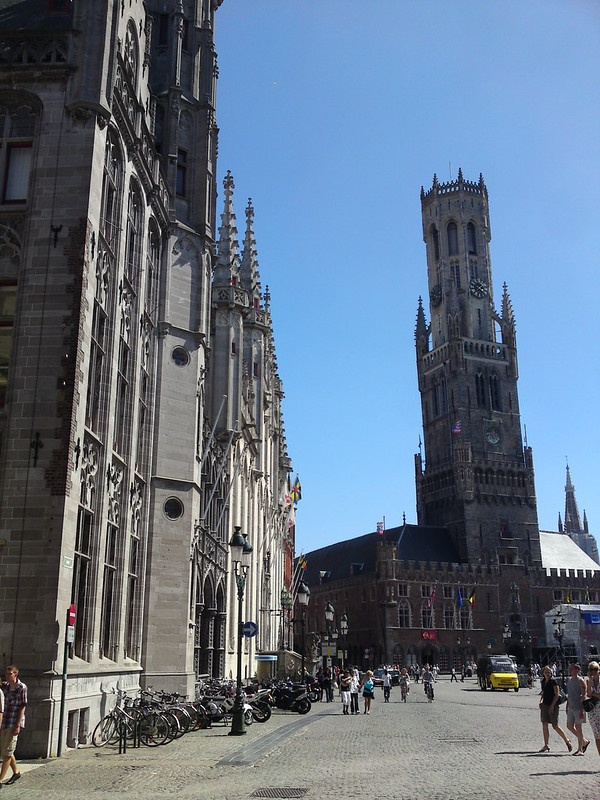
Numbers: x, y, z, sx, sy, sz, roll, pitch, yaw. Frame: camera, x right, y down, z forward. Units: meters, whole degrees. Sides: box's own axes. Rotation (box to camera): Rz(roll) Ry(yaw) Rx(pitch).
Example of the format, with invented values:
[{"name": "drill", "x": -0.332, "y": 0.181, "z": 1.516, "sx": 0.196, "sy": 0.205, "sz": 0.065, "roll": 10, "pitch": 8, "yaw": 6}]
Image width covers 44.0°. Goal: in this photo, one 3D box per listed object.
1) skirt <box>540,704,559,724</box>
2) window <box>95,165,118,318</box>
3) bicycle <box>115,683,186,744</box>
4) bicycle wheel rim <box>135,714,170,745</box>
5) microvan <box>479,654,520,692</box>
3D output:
[{"name": "skirt", "x": 4.771, "y": 5.926, "z": 14.098, "sx": 0.308, "sy": 0.427, "sz": 0.409, "roll": -10, "pitch": -21, "yaw": 19}, {"name": "window", "x": -4.680, "y": -4.083, "z": 18.304, "sx": 0.150, "sy": 3.554, "sz": 0.790, "roll": 2, "pitch": 11, "yaw": -18}, {"name": "bicycle", "x": -2.760, "y": 6.163, "z": 14.893, "sx": 0.494, "sy": 0.753, "sz": 1.235, "roll": 28, "pitch": -22, "yaw": -35}, {"name": "bicycle wheel rim", "x": -2.845, "y": 6.395, "z": 14.522, "sx": 0.153, "sy": 0.693, "sz": 0.675, "roll": -3, "pitch": -5, "yaw": 35}, {"name": "microvan", "x": 14.583, "y": 19.901, "z": 54.441, "sx": 2.635, "sy": 2.520, "sz": 2.941, "roll": -7, "pitch": -21, "yaw": 12}]
